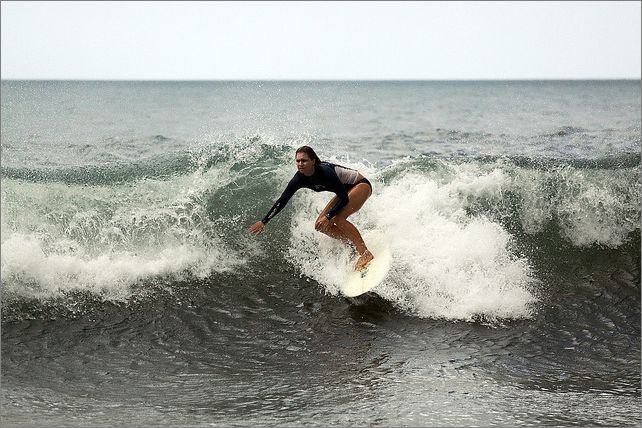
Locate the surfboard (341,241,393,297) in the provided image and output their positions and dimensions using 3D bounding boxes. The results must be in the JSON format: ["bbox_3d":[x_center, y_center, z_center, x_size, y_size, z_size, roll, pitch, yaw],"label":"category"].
[{"bbox_3d":[0.711,0.822,9.733,0.722,0.184,0.759,-26,28,34],"label":"surfboard"}]
